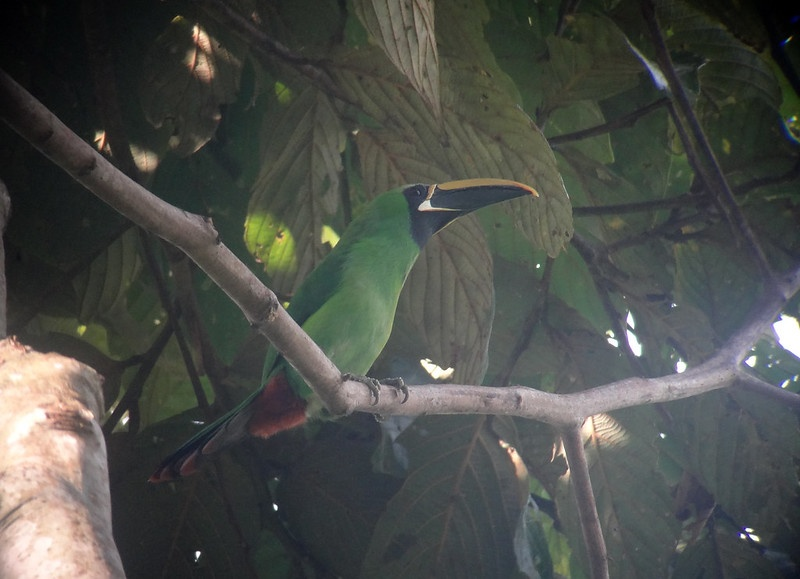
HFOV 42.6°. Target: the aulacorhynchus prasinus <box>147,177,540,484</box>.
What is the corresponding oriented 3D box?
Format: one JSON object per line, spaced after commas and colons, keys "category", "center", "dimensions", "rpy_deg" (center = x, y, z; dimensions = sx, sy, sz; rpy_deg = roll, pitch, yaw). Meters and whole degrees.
{"category": "aulacorhynchus prasinus", "center": [-0.221, 0.105, 3.881], "dimensions": [1.617, 0.848, 0.462], "rpy_deg": [-20, -38, 14]}
